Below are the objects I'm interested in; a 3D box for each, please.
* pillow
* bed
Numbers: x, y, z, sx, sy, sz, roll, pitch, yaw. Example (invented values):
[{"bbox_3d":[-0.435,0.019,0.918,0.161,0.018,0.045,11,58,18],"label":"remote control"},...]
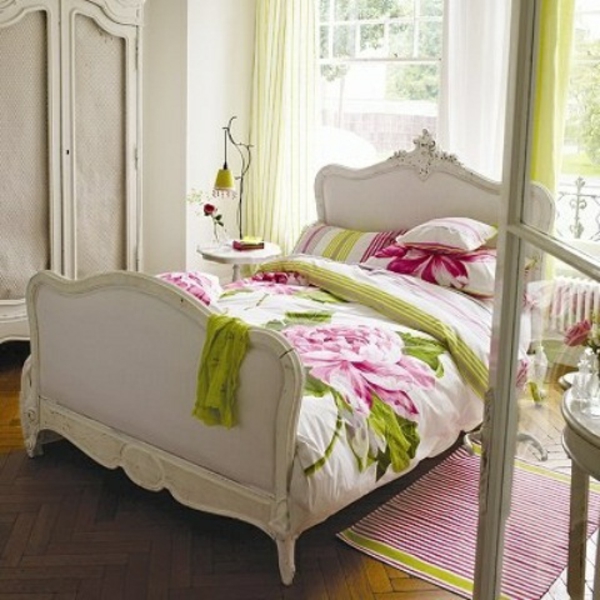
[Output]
[{"bbox_3d":[0.604,-0.308,3.255,1.271,0.404,0.387,14,17,42],"label":"pillow"},{"bbox_3d":[-0.065,0.111,2.953,1.799,1.930,2.280,11,16,41],"label":"bed"}]
